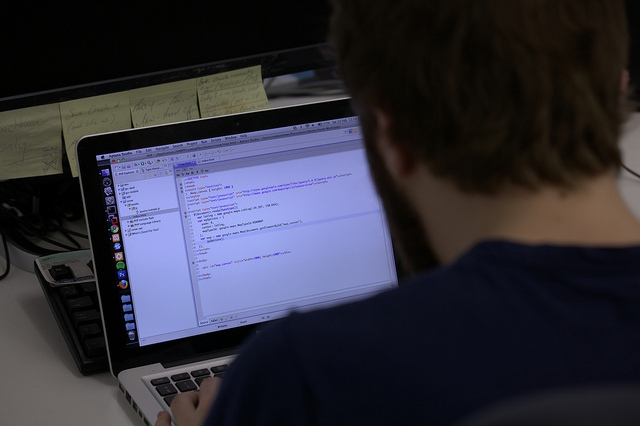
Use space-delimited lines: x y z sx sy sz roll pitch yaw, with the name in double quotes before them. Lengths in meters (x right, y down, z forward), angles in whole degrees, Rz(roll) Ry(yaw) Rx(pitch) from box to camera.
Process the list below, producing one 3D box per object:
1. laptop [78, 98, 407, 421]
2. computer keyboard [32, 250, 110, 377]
"laptop" -0.144 0.018 0.911 0.530 0.350 0.422 -12 23 -22
"computer keyboard" -0.351 0.132 0.824 0.127 0.171 0.040 -12 -34 -24
